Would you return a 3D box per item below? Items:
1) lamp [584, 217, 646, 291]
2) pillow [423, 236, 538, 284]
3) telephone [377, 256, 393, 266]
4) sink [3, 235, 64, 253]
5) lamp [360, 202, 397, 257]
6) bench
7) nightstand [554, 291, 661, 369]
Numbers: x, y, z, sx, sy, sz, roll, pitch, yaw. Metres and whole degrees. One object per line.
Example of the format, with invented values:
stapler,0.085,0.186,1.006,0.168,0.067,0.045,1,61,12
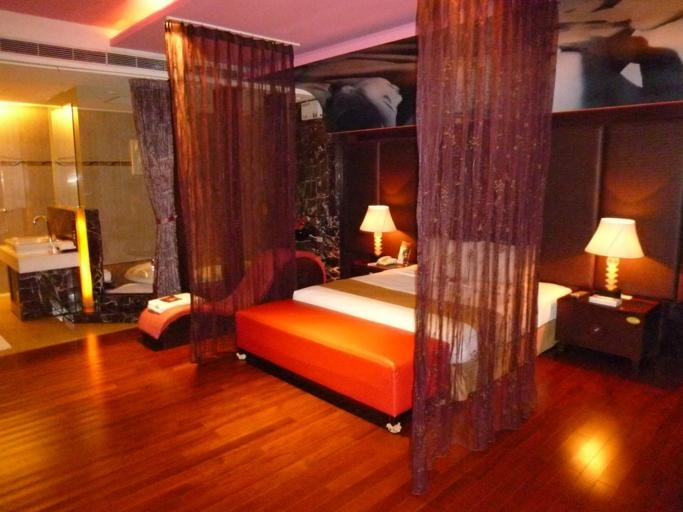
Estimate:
lamp,2.515,-0.010,4.988,0.455,0.678,0.410,6,16,31
pillow,0.919,0.034,3.635,0.967,0.374,0.077,-8,15,-27
telephone,0.558,0.049,6.689,0.147,0.044,0.138,6,12,27
sink,-3.835,-0.145,6.728,0.467,0.151,0.771,-12,15,-40
lamp,0.482,-0.323,6.861,0.441,0.657,0.421,-2,14,4
bench,-0.048,0.885,4.750,1.896,0.589,0.544,8,17,41
nightstand,2.587,0.660,5.161,0.634,0.505,0.853,-14,15,-34
